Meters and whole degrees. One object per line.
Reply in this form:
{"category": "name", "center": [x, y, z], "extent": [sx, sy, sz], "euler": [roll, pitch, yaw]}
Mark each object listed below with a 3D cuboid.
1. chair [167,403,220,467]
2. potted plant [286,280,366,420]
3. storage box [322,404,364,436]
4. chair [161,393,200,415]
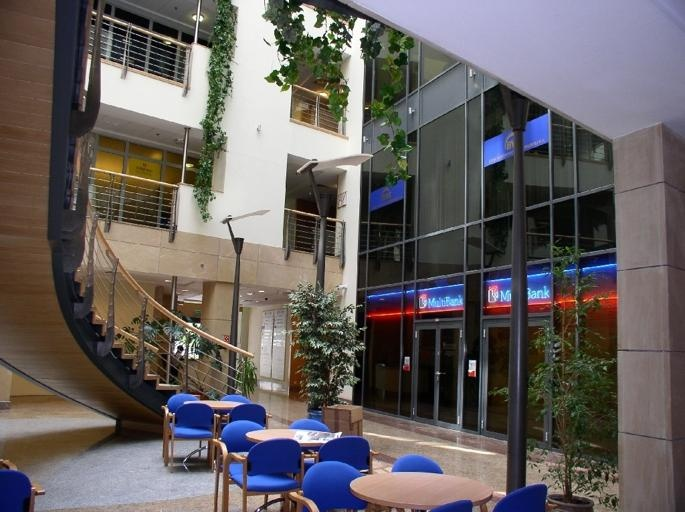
{"category": "chair", "center": [-2.121, 2.431, 7.810], "extent": [0.681, 0.864, 1.249], "euler": [4, -10, -17]}
{"category": "potted plant", "center": [-0.339, 1.617, 10.136], "extent": [1.279, 2.291, 0.778], "euler": [2, -9, -6]}
{"category": "storage box", "center": [0.038, 2.383, 8.345], "extent": [0.415, 0.583, 0.579], "euler": [-2, -5, 41]}
{"category": "chair", "center": [-2.412, 2.148, 8.422], "extent": [0.343, 0.175, 0.409], "euler": [0, 0, 2]}
